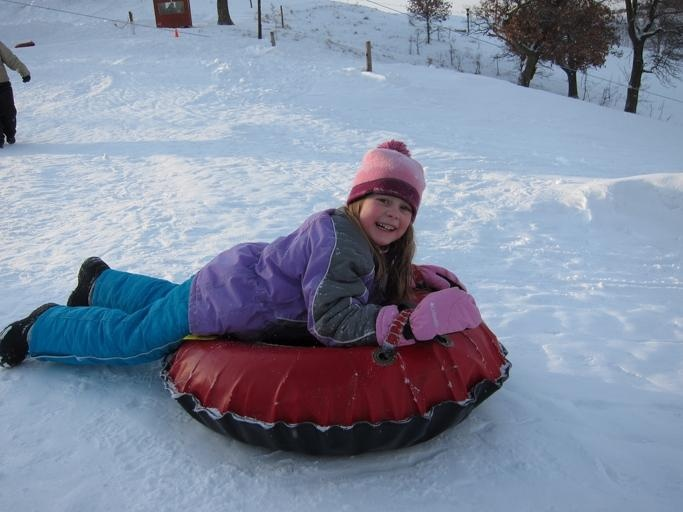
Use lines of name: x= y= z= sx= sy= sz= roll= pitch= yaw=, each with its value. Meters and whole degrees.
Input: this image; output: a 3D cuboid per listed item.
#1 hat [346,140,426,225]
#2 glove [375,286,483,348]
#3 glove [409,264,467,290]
hat: x=0.365 y=-0.521 z=4.326 sx=0.596 sy=0.478 sz=0.429 roll=13 pitch=-11 yaw=17
glove: x=0.586 y=0.352 z=3.878 sx=0.758 sy=0.268 sz=0.193 roll=-5 pitch=25 yaw=-17
glove: x=0.706 y=0.145 z=4.488 sx=0.266 sy=0.099 sz=0.208 roll=6 pitch=1 yaw=-22
